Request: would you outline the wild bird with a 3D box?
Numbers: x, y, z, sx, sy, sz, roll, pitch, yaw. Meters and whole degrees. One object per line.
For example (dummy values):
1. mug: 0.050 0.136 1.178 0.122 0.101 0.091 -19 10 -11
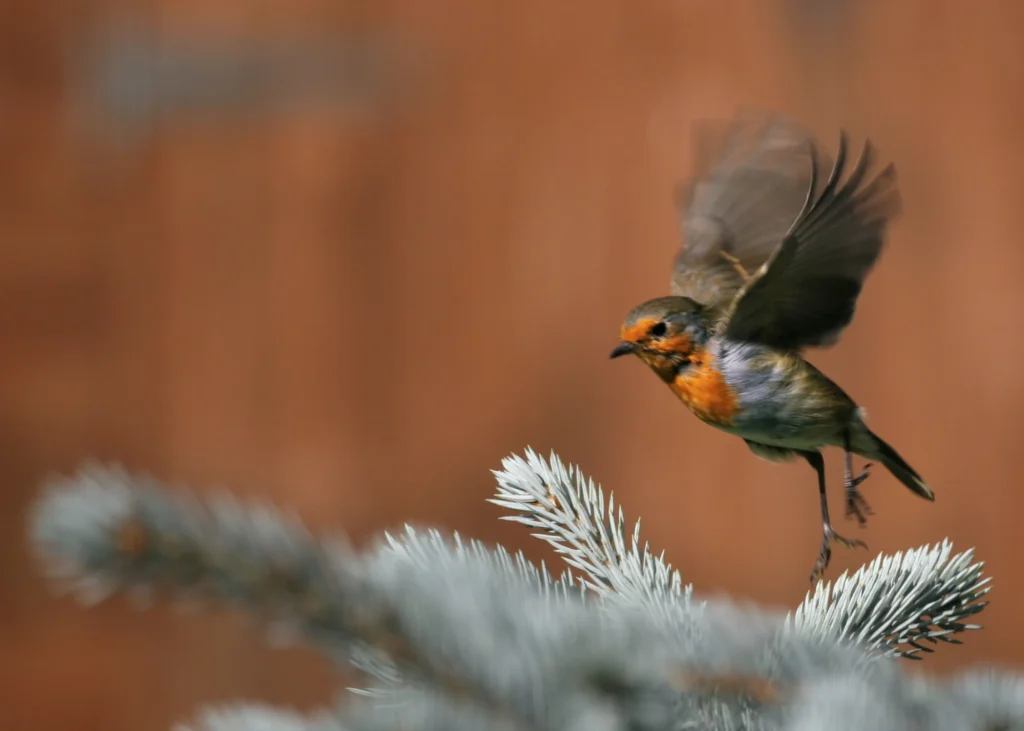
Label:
1. wild bird: 0.344 -0.012 2.080 0.422 0.544 0.582 -5 0 -7
